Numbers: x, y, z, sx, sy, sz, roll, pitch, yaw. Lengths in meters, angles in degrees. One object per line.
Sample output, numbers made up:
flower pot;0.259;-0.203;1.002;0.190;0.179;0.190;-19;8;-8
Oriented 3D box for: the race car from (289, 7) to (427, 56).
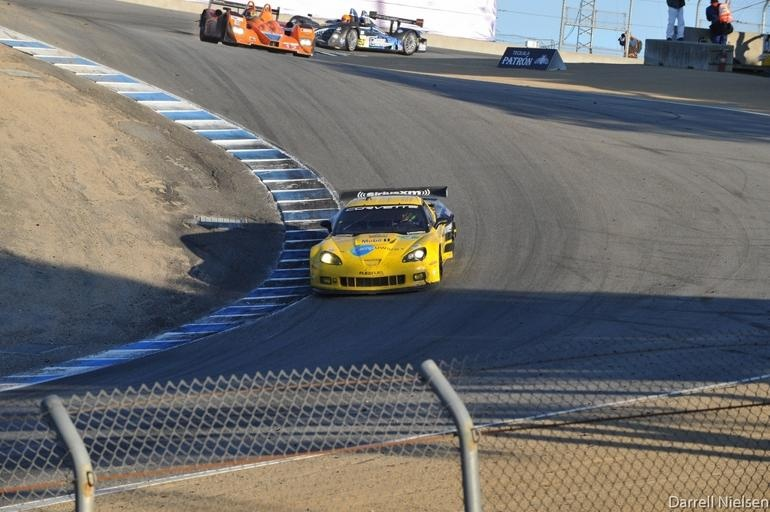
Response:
race car;-0.342;-8.037;38.436;4.297;0.951;2.309;1;6;-38
